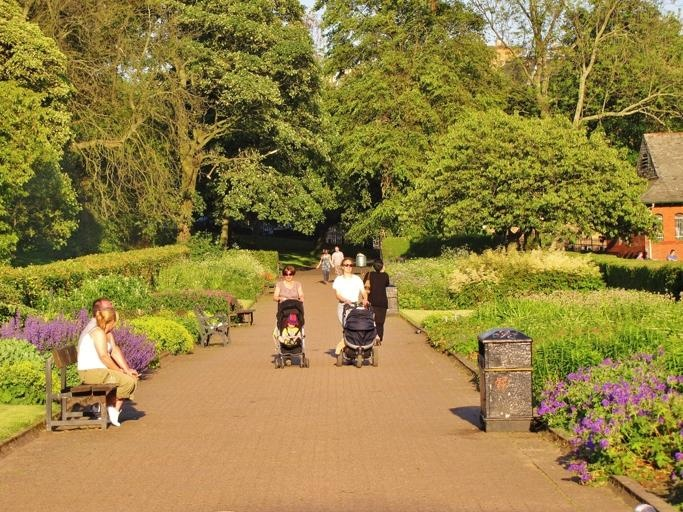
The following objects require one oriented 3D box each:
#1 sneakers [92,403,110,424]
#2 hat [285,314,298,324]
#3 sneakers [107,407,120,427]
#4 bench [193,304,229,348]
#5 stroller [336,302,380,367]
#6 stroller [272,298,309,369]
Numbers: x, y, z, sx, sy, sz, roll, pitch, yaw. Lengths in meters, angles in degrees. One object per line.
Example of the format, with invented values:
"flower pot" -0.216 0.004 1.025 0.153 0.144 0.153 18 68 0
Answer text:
"sneakers" -4.065 2.592 14.004 0.260 0.383 0.132 3 1 27
"hat" -1.089 1.377 18.299 0.160 0.195 0.219 1 -21 -8
"sneakers" -3.852 2.661 13.981 0.228 0.331 0.230 0 1 -2
"bench" -3.649 1.619 23.255 0.886 1.271 0.887 -1 43 -7
"stroller" 0.352 1.780 18.609 0.893 1.411 1.023 0 1 -1
"stroller" -1.164 1.675 18.771 0.757 1.520 0.948 -1 5 -11
